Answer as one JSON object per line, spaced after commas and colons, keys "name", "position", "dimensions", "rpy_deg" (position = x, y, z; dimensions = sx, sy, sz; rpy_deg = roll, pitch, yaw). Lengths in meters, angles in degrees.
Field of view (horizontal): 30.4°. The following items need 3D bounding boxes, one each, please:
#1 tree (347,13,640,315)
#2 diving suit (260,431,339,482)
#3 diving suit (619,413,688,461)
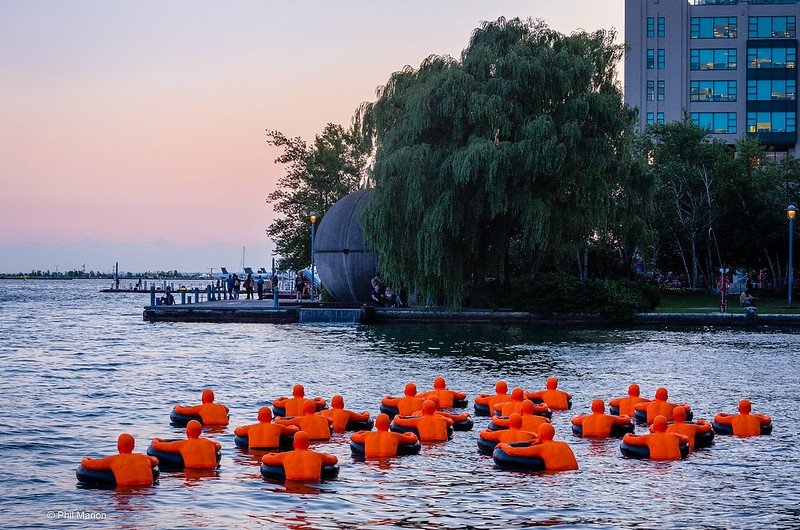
{"name": "tree", "position": [5.818, -5.604, 84.388], "dimensions": [16.018, 19.693, 15.178], "rpy_deg": [0, 1, 4]}
{"name": "diving suit", "position": [-3.849, 7.419, 56.685], "dimensions": [2.893, 1.885, 0.505], "rpy_deg": [-1, -3, -5]}
{"name": "diving suit", "position": [10.064, 6.952, 58.475], "dimensions": [1.949, 1.230, 1.946], "rpy_deg": [2, -1, -2]}
